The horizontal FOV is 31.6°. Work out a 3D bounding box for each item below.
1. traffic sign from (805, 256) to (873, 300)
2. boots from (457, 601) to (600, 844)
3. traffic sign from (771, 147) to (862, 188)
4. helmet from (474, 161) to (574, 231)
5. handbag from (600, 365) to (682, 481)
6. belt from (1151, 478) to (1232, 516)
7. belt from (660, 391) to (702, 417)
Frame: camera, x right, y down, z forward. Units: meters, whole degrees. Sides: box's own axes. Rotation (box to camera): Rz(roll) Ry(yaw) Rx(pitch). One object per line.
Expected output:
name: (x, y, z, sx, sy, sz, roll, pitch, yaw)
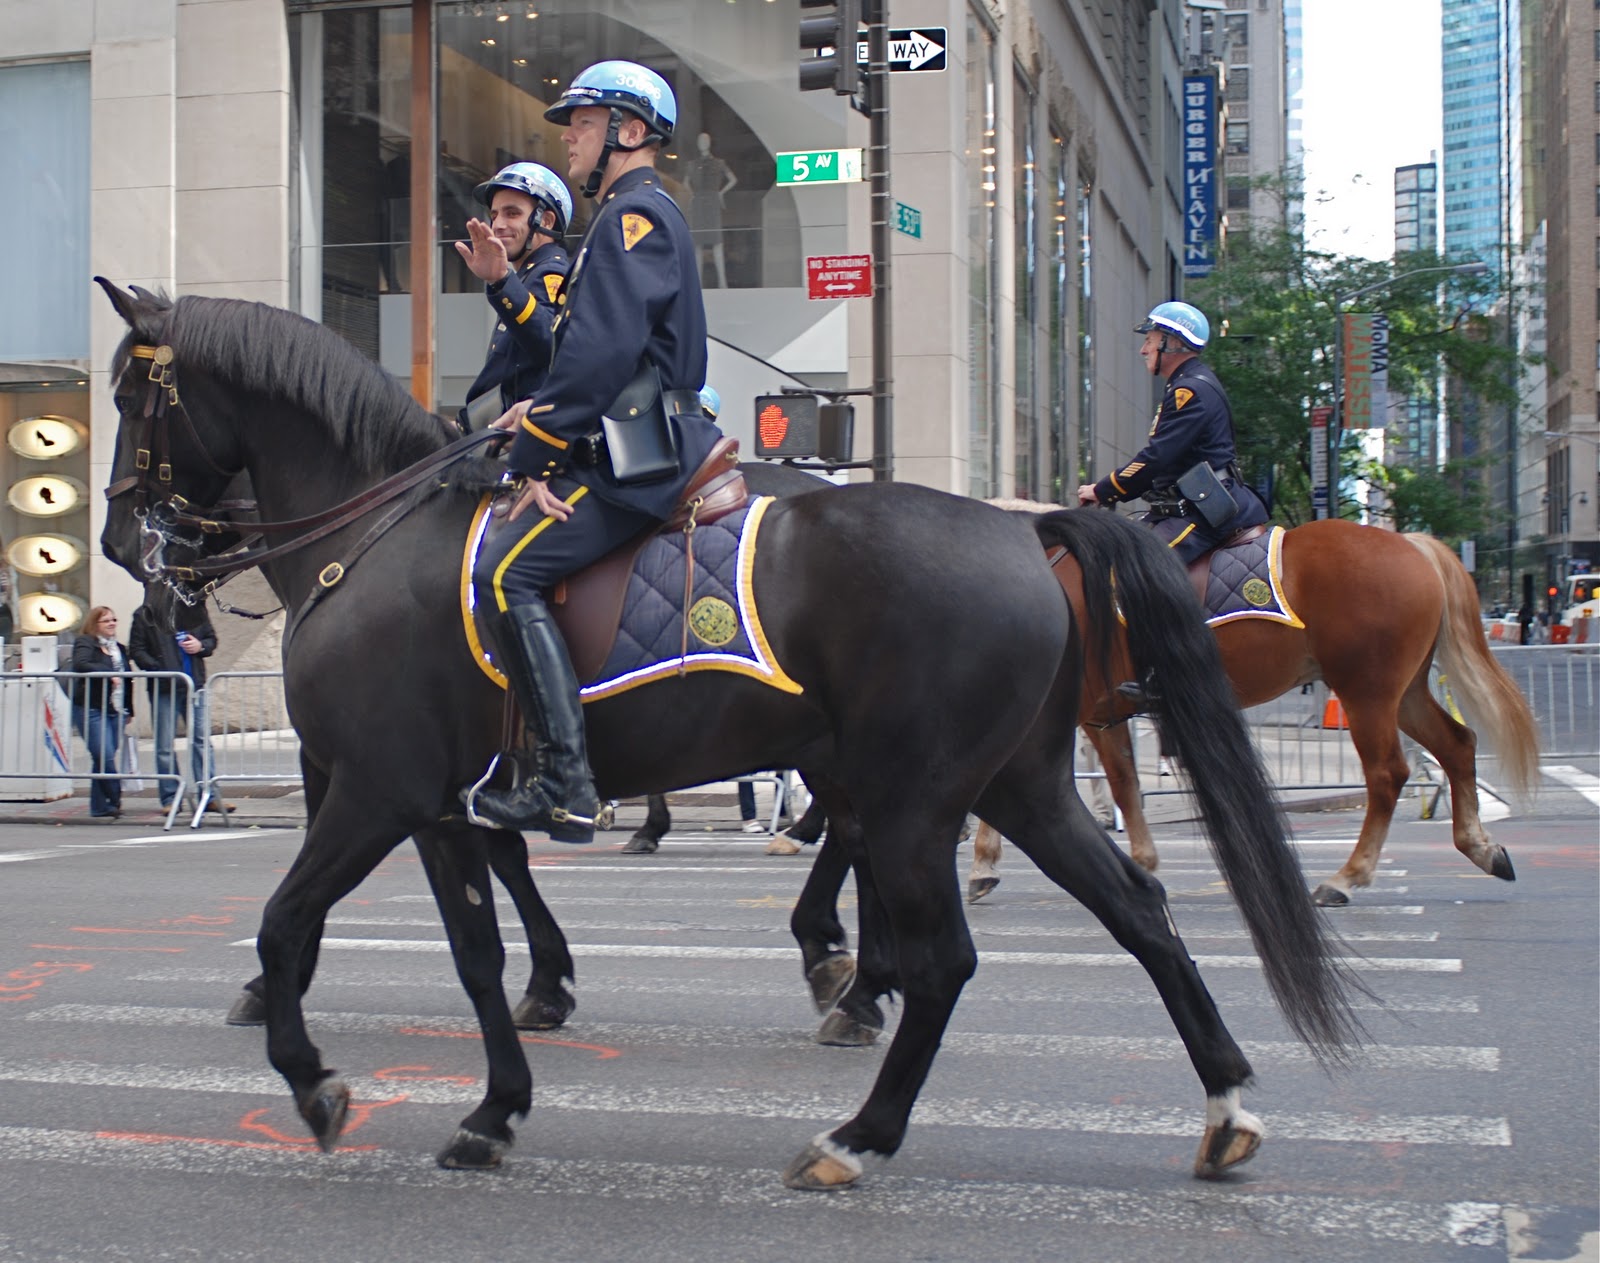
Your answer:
traffic sign: (0.347, -3.046, 23.966, 0.882, 0.483, 0.113, 3, 8, 29)
boots: (-1.222, 0.408, 12.753, 0.546, 1.081, 0.321, -4, 13, -10)
traffic sign: (0.175, -3.898, 23.412, 0.658, 0.260, 0.809, 0, 11, 4)
helmet: (-1.360, -2.315, 14.782, 0.443, 0.353, 0.562, 21, 16, 36)
handbag: (-0.726, -0.949, 12.867, 0.424, 0.457, 0.154, -8, -5, -16)
belt: (2.518, -0.859, 17.958, 0.288, 0.231, 0.104, -17, -9, 3)
belt: (-0.557, -1.068, 13.042, 0.152, 0.067, 0.176, 0, 5, 5)
